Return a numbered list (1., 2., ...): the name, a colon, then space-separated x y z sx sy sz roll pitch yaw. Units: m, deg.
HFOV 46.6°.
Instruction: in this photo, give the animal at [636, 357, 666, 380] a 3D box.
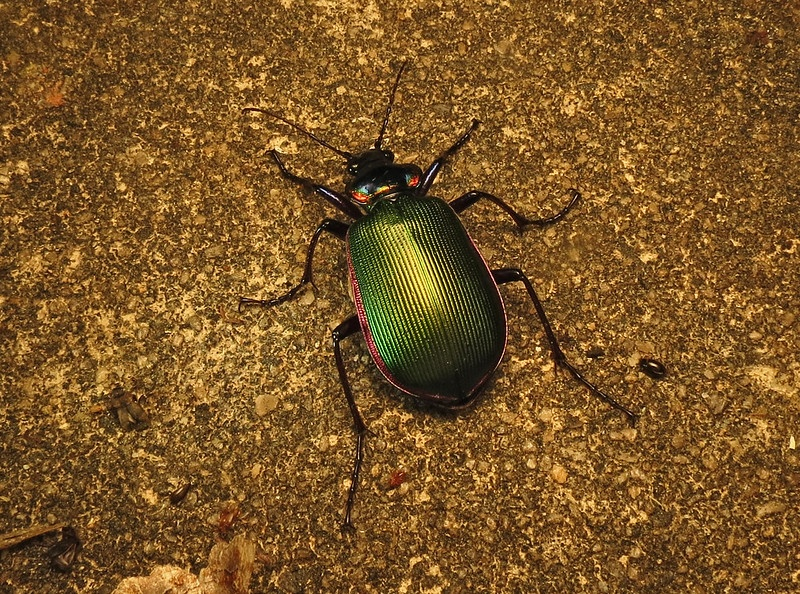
1. animal: 1.326 0.381 4.882 0.122 0.041 0.095 25 74 7
